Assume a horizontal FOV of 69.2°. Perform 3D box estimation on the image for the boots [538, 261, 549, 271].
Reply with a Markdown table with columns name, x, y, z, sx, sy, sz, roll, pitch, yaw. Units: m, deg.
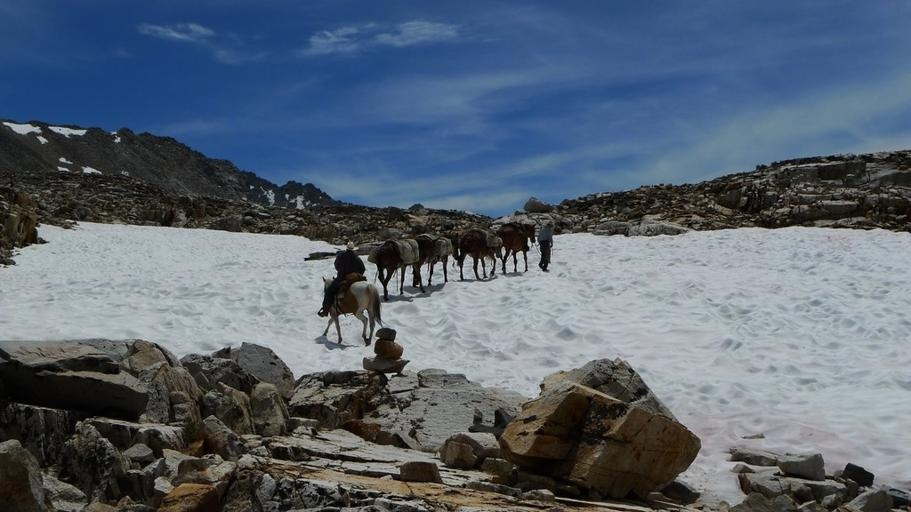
| name | x | y | z | sx | sy | sz | roll | pitch | yaw |
| --- | --- | --- | --- | --- | --- | --- | --- | --- | --- |
| boots | 3.522 | 0.445 | 26.692 | 0.445 | 0.463 | 0.454 | -5 | -16 | 17 |

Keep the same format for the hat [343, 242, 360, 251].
| name | x | y | z | sx | sy | sz | roll | pitch | yaw |
| --- | --- | --- | --- | --- | --- | --- | --- | --- | --- |
| hat | -4.062 | -0.378 | 25.555 | 0.669 | 0.176 | 0.622 | 11 | 8 | -19 |

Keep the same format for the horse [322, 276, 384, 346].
| name | x | y | z | sx | sy | sz | roll | pitch | yaw |
| --- | --- | --- | --- | --- | --- | --- | --- | --- | --- |
| horse | -3.505 | 1.695 | 21.574 | 1.022 | 2.223 | 3.710 | 2 | -5 | -41 |
